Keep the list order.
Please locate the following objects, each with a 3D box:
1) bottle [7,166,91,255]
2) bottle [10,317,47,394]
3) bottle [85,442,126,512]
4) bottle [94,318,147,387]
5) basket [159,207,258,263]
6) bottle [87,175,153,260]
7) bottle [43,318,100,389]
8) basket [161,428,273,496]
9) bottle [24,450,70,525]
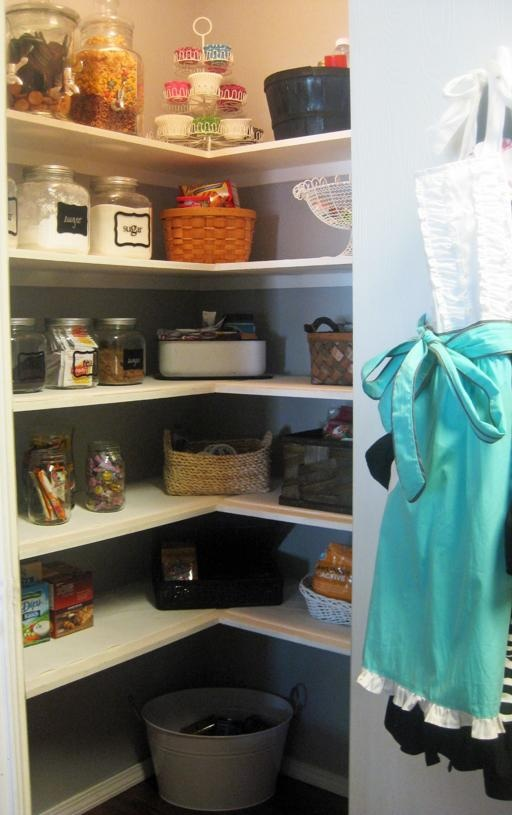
[{"bbox_3d":[-0.424,-0.427,1.440,0.143,0.213,0.186,0,-3,-1],"label":"bottle"},{"bbox_3d":[-0.500,-0.112,1.413,0.050,0.160,0.082,7,7,43],"label":"bottle"},{"bbox_3d":[-0.394,0.182,1.685,0.099,0.175,0.101,0,-2,0],"label":"bottle"},{"bbox_3d":[-0.364,-0.141,1.647,0.095,0.168,0.190,6,6,34],"label":"bottle"},{"bbox_3d":[-0.130,-0.466,1.781,0.188,0.102,0.199,-1,1,-29],"label":"basket"},{"bbox_3d":[-0.352,-0.463,1.633,0.173,0.206,0.187,-2,5,-7],"label":"bottle"},{"bbox_3d":[-0.437,-0.129,1.512,0.125,0.163,0.126,1,13,0],"label":"bottle"},{"bbox_3d":[-0.114,0.156,1.908,0.293,0.201,0.171,-1,12,-5],"label":"basket"},{"bbox_3d":[-0.496,0.187,1.545,0.101,0.179,0.104,-4,4,0],"label":"bottle"}]
